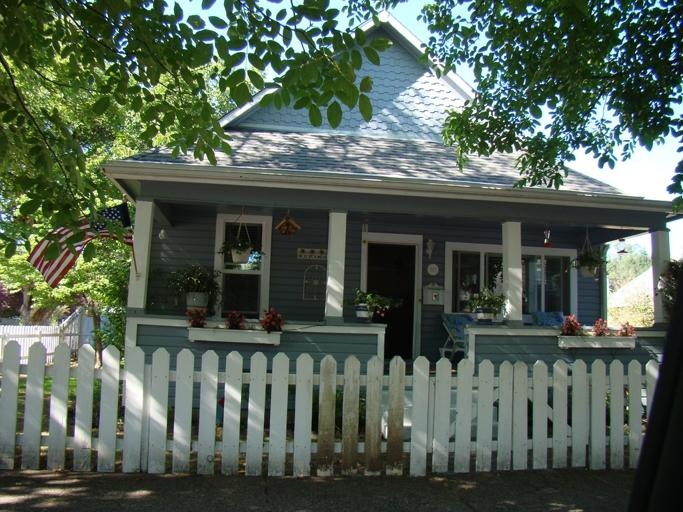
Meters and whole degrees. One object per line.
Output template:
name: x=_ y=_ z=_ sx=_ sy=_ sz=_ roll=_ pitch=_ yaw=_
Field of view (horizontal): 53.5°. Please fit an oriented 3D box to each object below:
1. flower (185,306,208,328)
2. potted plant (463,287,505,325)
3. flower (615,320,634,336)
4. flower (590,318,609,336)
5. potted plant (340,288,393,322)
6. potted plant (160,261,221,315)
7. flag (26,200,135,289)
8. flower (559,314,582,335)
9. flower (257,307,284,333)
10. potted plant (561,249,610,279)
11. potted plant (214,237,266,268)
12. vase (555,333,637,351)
flower: x=-2.347 y=0.988 z=11.022 sx=0.286 sy=0.225 sz=0.289 roll=3 pitch=-1 yaw=-29
potted plant: x=2.806 y=0.966 z=13.051 sx=0.640 sy=0.696 sz=0.656 roll=0 pitch=-4 yaw=20
flower: x=5.052 y=1.293 z=12.042 sx=0.243 sy=0.256 sz=0.259 roll=3 pitch=-5 yaw=4
flower: x=4.620 y=1.295 z=12.042 sx=0.300 sy=0.370 sz=0.306 roll=9 pitch=-6 yaw=-18
potted plant: x=0.549 y=0.891 z=12.134 sx=0.712 sy=0.549 sz=0.731 roll=5 pitch=1 yaw=-6
potted plant: x=-2.637 y=0.580 z=12.264 sx=0.870 sy=0.928 sz=0.874 roll=4 pitch=-9 yaw=-29
flag: x=-4.348 y=-0.178 z=11.612 sx=2.013 sy=1.439 sz=0.151 roll=-26 pitch=4 yaw=-20
flower: x=4.033 y=1.268 z=11.972 sx=0.338 sy=0.294 sz=0.390 roll=10 pitch=-38 yaw=1
flower: x=-1.145 y=1.056 z=11.070 sx=0.358 sy=0.366 sz=0.352 roll=3 pitch=-12 yaw=-43
potted plant: x=4.779 y=0.159 z=13.113 sx=0.713 sy=0.524 sz=0.744 roll=-1 pitch=-7 yaw=19
potted plant: x=-1.901 y=-0.124 z=12.520 sx=0.598 sy=0.259 sz=0.623 roll=2 pitch=-16 yaw=-4
vase: x=4.458 y=1.523 z=11.861 sx=1.399 sy=0.318 sz=0.259 roll=5 pitch=-5 yaw=-12
